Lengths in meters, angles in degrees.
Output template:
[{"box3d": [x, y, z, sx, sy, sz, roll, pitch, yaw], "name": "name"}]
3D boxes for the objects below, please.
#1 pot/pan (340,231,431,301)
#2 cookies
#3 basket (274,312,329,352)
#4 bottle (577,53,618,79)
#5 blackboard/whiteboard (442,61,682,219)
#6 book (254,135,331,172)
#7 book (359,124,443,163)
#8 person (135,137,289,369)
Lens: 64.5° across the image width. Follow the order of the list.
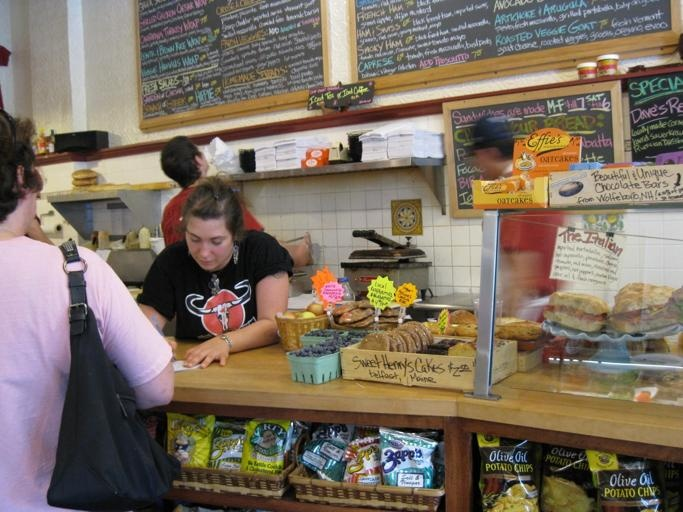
[{"box3d": [0.301, 0.076, 3.804, 0.511, 0.549, 0.559, -1, -1, 39], "name": "pot/pan"}, {"box3d": [0.185, 0.254, 1.957, 0.215, 0.066, 0.196, -2, 7, -21], "name": "cookies"}, {"box3d": [-0.174, 0.320, 2.280, 0.199, 0.100, 0.165, -1, -1, 1], "name": "basket"}, {"box3d": [1.541, -1.117, 3.257, 0.233, 0.112, 0.140, 3, 4, 21], "name": "bottle"}, {"box3d": [1.180, -0.645, 2.812, 1.388, 0.655, 0.058, -7, -19, 27], "name": "blackboard/whiteboard"}, {"box3d": [-0.419, -0.740, 3.997, 0.409, 0.115, 0.333, -3, 2, -42], "name": "book"}, {"box3d": [0.406, -0.689, 3.649, 0.371, 0.114, 0.349, 2, 6, 23], "name": "book"}, {"box3d": [-0.581, 0.073, 2.592, 0.754, 0.693, 0.879, 1, 11, 6], "name": "person"}]
